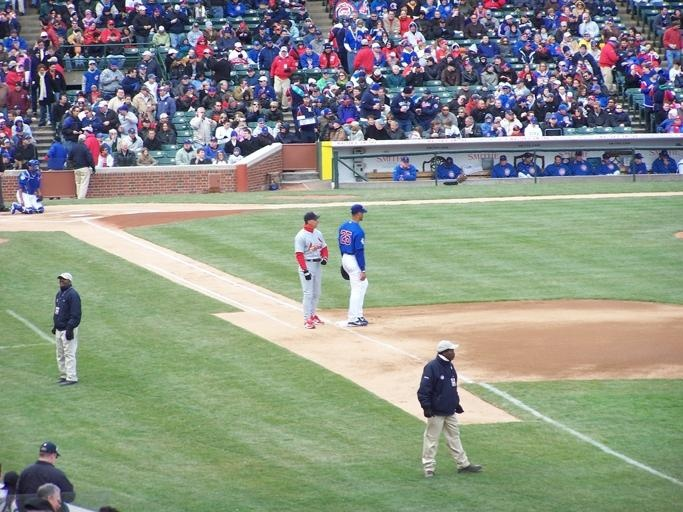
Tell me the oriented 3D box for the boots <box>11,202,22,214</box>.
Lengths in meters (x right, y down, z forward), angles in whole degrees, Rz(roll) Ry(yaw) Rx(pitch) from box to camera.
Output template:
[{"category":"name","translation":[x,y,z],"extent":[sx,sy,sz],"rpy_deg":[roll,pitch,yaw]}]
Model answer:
[{"category":"boots","translation":[-10.963,-1.650,60.066],"extent":[0.397,0.152,0.399],"rpy_deg":[32,53,33]}]

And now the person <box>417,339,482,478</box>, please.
[{"category":"person","translation":[2.581,3.688,43.254],"extent":[1.217,3.281,1.013],"rpy_deg":[2,4,25]}]

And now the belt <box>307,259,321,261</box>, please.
[{"category":"belt","translation":[-0.714,0.070,48.959],"extent":[0.336,0.098,0.075],"rpy_deg":[-1,4,-24]}]
